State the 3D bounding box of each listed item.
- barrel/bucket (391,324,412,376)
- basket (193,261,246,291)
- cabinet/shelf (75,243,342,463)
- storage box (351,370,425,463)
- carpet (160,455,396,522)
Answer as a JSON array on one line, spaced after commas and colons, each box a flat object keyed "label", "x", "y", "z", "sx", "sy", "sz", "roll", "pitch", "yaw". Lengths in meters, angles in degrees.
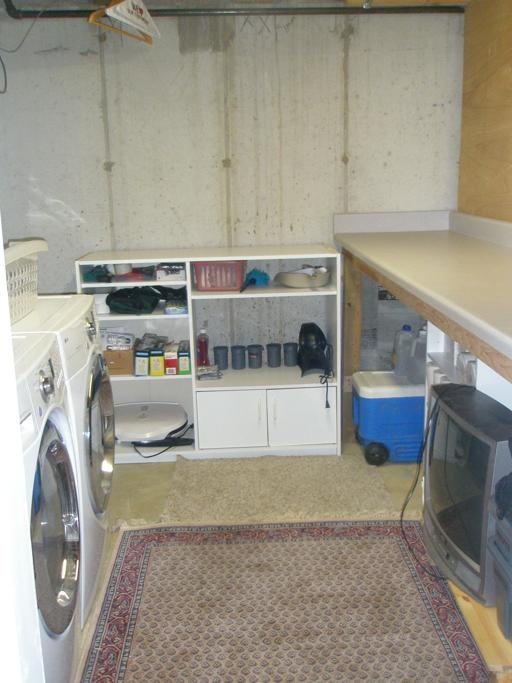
[{"label": "barrel/bucket", "x": 0.886, "y": 0.052, "z": 3.142, "sx": 0.137, "sy": 0.279, "sz": 0.166, "roll": 1, "pitch": 15, "yaw": -2}, {"label": "basket", "x": -0.198, "y": -0.363, "z": 2.899, "sx": 0.225, "sy": 0.135, "sz": 0.157, "roll": 1, "pitch": 22, "yaw": -1}, {"label": "cabinet/shelf", "x": -0.229, "y": 0.009, "z": 3.087, "sx": 1.432, "sy": 1.290, "sz": 0.516, "roll": -1, "pitch": 24, "yaw": -7}, {"label": "storage box", "x": 0.792, "y": 0.419, "z": 3.041, "sx": 0.399, "sy": 0.431, "sz": 0.515, "roll": -4, "pitch": 7, "yaw": 7}, {"label": "carpet", "x": 0.115, "y": 0.732, "z": 2.662, "sx": 1.112, "sy": 0.033, "sz": 0.632, "roll": -2, "pitch": 13, "yaw": 2}]
